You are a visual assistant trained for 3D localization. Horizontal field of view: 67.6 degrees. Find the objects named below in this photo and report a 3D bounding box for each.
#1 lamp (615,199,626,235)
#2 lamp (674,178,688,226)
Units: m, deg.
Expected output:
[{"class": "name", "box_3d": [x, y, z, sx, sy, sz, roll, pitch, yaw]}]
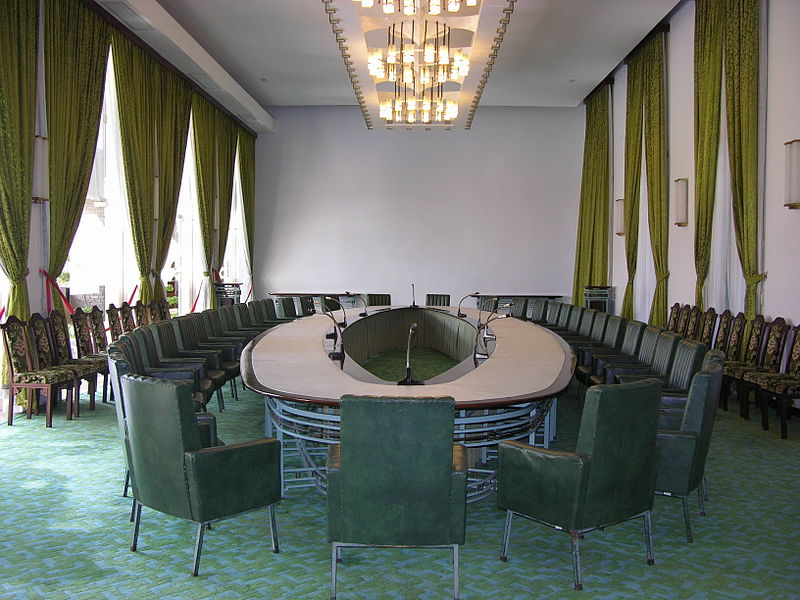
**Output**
[{"class": "lamp", "box_3d": [3.951, -1.478, 10.762, 0.134, 0.663, 0.670, -1, 3, 18]}, {"class": "lamp", "box_3d": [4.012, -1.373, 8.521, 0.153, 0.666, 0.281, -2, 3, 8]}]
